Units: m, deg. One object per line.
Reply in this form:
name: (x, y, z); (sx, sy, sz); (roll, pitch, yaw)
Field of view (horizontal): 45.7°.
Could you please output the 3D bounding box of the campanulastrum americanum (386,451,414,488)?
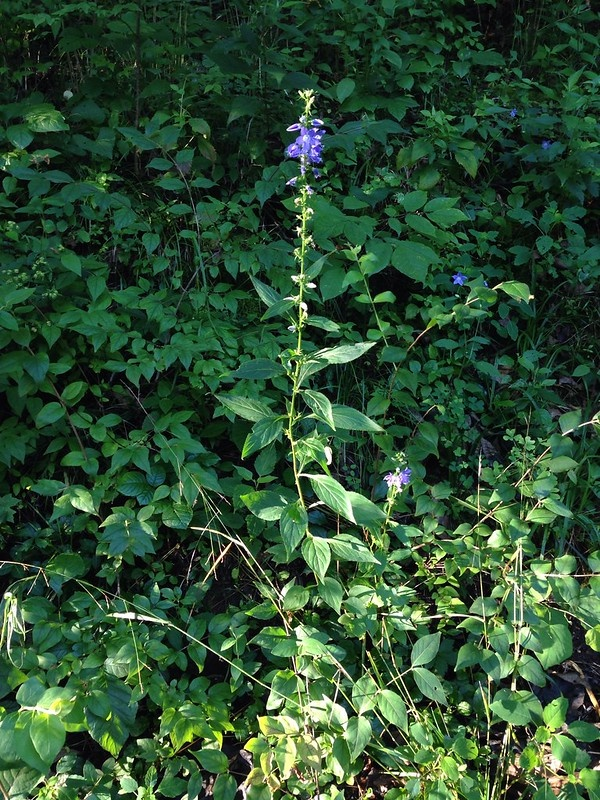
campanulastrum americanum: (0.386, 0.274, 2.737); (0.059, 0.140, 0.153); (-3, -2, 15)
